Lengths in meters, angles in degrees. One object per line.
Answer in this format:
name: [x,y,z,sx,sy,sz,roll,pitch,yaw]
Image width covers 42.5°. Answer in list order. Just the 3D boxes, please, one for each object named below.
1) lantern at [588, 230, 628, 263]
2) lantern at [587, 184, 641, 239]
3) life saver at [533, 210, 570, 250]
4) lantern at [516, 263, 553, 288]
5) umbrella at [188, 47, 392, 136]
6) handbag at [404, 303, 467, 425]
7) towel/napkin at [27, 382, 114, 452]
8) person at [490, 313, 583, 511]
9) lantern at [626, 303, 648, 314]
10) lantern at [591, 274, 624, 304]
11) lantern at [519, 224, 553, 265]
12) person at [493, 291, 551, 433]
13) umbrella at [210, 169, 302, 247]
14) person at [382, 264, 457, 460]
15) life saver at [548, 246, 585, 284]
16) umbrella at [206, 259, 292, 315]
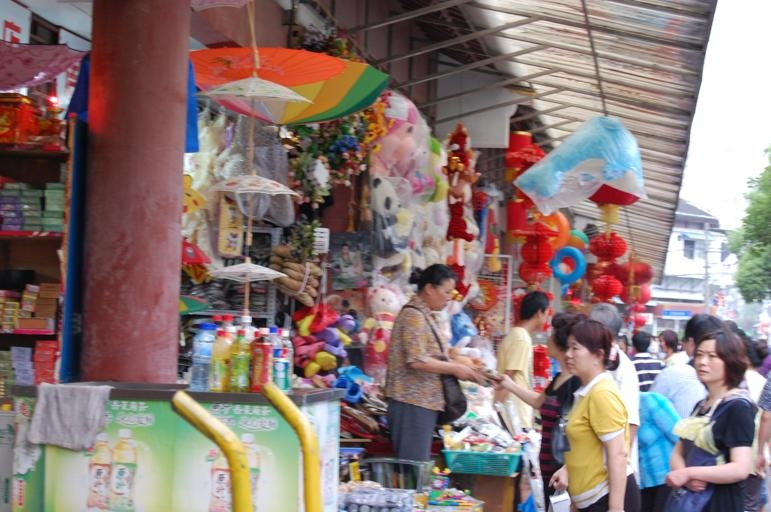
lantern: [2.638,-0.103,11.839,0.472,0.252,0.417,-3,2,-26]
lantern: [2.234,-0.491,9.847,0.533,0.388,0.443,2,-5,-9]
life saver: [2.127,-0.322,12.510,0.629,0.520,0.168,-7,25,48]
lantern: [1.704,0.221,11.343,0.408,0.233,0.337,1,-5,-3]
umbrella: [-0.689,-1.349,7.685,1.120,0.263,1.074,-7,-14,44]
handbag: [0.451,0.819,7.234,0.344,0.711,0.645,-12,-1,-40]
towel/napkin: [-1.854,0.941,5.801,0.266,0.315,0.642,-3,9,-5]
person: [1.150,0.978,6.744,0.468,1.463,0.928,2,-3,10]
lantern: [4.142,0.900,16.438,0.336,0.083,0.280,-1,2,-11]
lantern: [2.952,0.433,13.167,0.456,0.321,0.456,3,5,44]
lantern: [1.722,-0.134,11.298,0.582,0.408,0.483,0,-6,5]
person: [1.124,1.018,8.224,0.493,1.403,0.500,6,22,11]
umbrella: [-0.851,-0.302,7.055,0.732,0.505,0.658,7,-3,-28]
person: [0.254,0.769,7.290,0.722,1.215,0.570,2,0,1]
life saver: [2.444,0.136,13.494,0.664,0.458,0.153,6,-2,-6]
umbrella: [-0.982,0.219,6.791,0.465,0.424,0.941,5,-8,-11]
